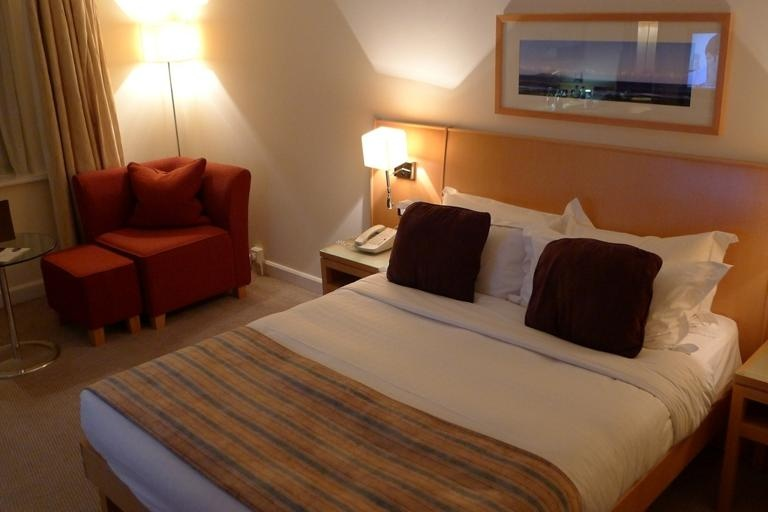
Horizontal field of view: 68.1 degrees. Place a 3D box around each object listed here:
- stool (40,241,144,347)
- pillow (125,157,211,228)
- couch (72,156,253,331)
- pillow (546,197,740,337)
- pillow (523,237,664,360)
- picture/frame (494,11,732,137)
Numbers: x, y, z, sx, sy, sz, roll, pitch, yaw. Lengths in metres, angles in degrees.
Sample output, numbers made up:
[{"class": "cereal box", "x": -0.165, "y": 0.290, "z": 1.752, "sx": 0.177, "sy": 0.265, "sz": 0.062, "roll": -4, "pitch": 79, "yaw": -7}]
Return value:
[{"class": "stool", "x": -2.404, "y": 0.277, "z": 4.647, "sx": 0.674, "sy": 0.628, "sz": 0.505, "roll": 18, "pitch": 26, "yaw": 31}, {"class": "pillow", "x": -1.867, "y": -0.531, "z": 4.906, "sx": 0.626, "sy": 0.537, "sz": 0.262, "roll": -2, "pitch": 6, "yaw": -18}, {"class": "couch", "x": -2.039, "y": -0.188, "z": 5.165, "sx": 1.635, "sy": 1.260, "sz": 1.588, "roll": 4, "pitch": 17, "yaw": 12}, {"class": "pillow", "x": 1.576, "y": 0.018, "z": 3.452, "sx": 0.742, "sy": 0.235, "sz": 0.647, "roll": 14, "pitch": 37, "yaw": 40}, {"class": "pillow", "x": 1.146, "y": 0.169, "z": 3.335, "sx": 0.435, "sy": 0.574, "sz": 0.790, "roll": -10, "pitch": 9, "yaw": -15}, {"class": "picture/frame", "x": 1.338, "y": -1.149, "z": 3.468, "sx": 1.373, "sy": 0.640, "sz": 0.047, "roll": 14, "pitch": 21, "yaw": 28}]
